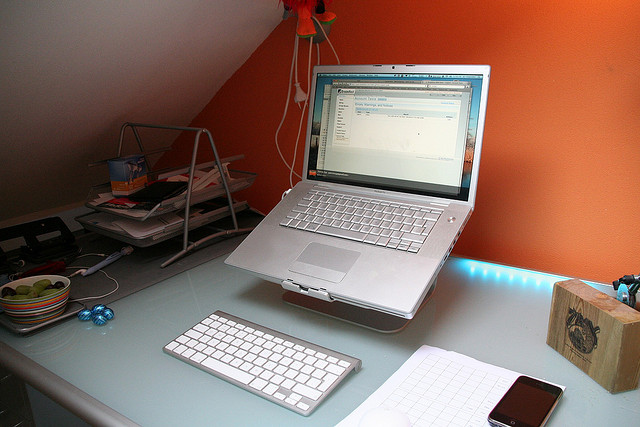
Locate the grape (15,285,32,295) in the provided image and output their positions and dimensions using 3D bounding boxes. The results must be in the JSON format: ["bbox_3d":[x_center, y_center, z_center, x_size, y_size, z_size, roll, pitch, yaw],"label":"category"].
[{"bbox_3d":[-0.725,0.188,1.032,0.030,0.014,0.032,-6,27,-29],"label":"grape"}]

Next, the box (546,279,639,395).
[{"bbox_3d":[0.547,0.258,0.852,0.054,0.134,0.163,-12,30,-20],"label":"box"}]

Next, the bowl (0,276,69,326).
[{"bbox_3d":[-0.694,0.192,1.032,0.120,0.049,0.116,0,19,0],"label":"bowl"}]

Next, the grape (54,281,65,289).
[{"bbox_3d":[-0.655,0.180,1.059,0.017,0.010,0.017,3,31,-14],"label":"grape"}]

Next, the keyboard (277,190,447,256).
[{"bbox_3d":[0.097,0.012,1.072,0.383,0.122,0.128,18,25,22],"label":"keyboard"}]

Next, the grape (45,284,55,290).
[{"bbox_3d":[-0.681,0.186,1.064,0.015,0.008,0.012,-13,-2,40],"label":"grape"}]

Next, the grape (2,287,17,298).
[{"bbox_3d":[-0.758,0.194,1.031,0.022,0.015,0.023,0,11,0],"label":"grape"}]

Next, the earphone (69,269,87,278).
[{"bbox_3d":[-0.683,0.170,1.196,0.031,0.013,0.042,15,24,17],"label":"earphone"}]

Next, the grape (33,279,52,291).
[{"bbox_3d":[-0.698,0.180,1.054,0.024,0.015,0.030,-4,0,-5],"label":"grape"}]

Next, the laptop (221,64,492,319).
[{"bbox_3d":[0.082,-0.055,1.056,0.539,0.456,0.530,11,40,34],"label":"laptop"}]
